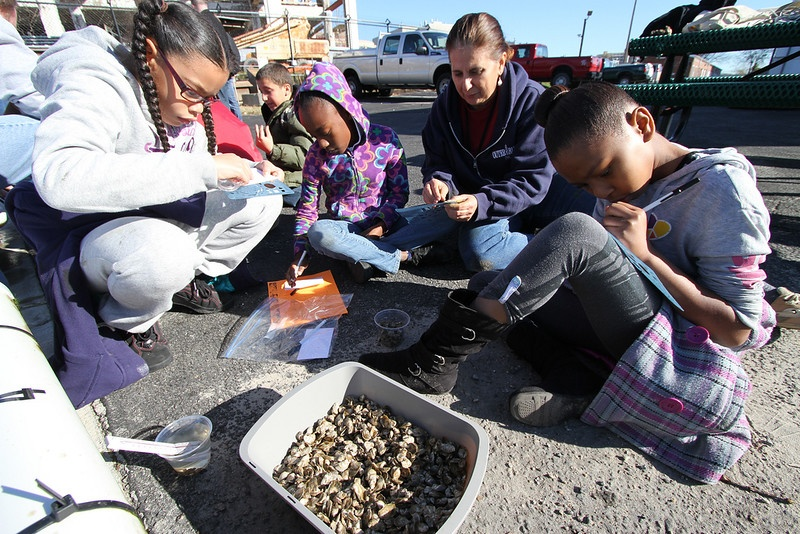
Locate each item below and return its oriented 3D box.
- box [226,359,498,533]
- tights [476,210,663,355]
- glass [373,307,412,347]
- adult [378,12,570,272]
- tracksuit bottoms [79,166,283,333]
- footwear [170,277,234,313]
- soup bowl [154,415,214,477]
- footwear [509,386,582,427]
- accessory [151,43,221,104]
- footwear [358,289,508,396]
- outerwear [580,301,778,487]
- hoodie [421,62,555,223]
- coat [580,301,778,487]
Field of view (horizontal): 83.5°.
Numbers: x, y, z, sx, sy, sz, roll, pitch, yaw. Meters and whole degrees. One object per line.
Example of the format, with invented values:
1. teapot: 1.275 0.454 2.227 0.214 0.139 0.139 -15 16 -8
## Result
1. box: -0.050 0.616 1.690 0.740 0.243 0.570 26 50 28
2. tights: 0.638 0.073 1.784 0.648 0.305 0.571 9 -9 3
3. glass: -0.032 0.302 2.259 0.177 0.123 0.169 -7 49 -10
4. adult: 0.341 -0.960 3.141 1.342 1.709 1.206 -28 32 -32
5. tracksuit bottoms: -1.040 -0.076 2.116 0.600 0.447 1.096 18 22 4
6. footwear: -1.081 0.176 2.570 0.403 0.179 0.143 8 40 -21
7. soup bowl: -0.835 0.681 1.798 0.223 0.149 0.216 -7 37 5
8. footwear: 0.575 0.574 1.905 0.328 0.137 0.147 7 0 -9
9. accessory: -0.925 -0.816 1.910 0.053 0.170 0.169 -30 -9 8
10. footwear: 0.151 0.357 2.011 0.388 0.366 0.171 18 47 -2
11. outerwear: 1.060 0.452 1.729 0.601 0.561 0.372 11 31 20
12. hoodie: 0.494 -0.660 2.526 0.735 0.716 0.681 27 52 34
13. coat: 1.110 0.539 1.796 0.737 0.311 0.536 -43 62 -10
